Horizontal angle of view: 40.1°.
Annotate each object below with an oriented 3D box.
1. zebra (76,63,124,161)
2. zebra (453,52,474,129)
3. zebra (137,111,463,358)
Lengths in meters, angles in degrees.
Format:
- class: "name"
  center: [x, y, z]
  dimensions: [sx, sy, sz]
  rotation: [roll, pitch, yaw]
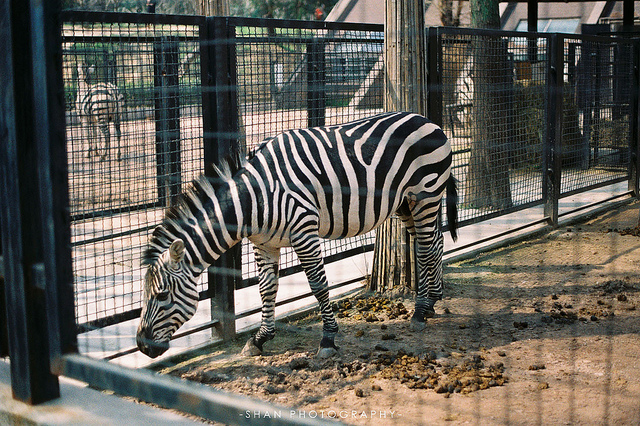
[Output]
- class: "zebra"
  center: [-1.982, -0.917, 7.818]
  dimensions: [0.271, 0.805, 0.947]
  rotation: [-7, 10, -33]
- class: "zebra"
  center: [1.631, -1.407, 10.028]
  dimensions: [0.178, 0.959, 0.506]
  rotation: [3, -9, 10]
- class: "zebra"
  center: [-0.022, 0.227, 7.961]
  dimensions: [3.205, 2.196, 0.885]
  rotation: [-12, 18, -20]
